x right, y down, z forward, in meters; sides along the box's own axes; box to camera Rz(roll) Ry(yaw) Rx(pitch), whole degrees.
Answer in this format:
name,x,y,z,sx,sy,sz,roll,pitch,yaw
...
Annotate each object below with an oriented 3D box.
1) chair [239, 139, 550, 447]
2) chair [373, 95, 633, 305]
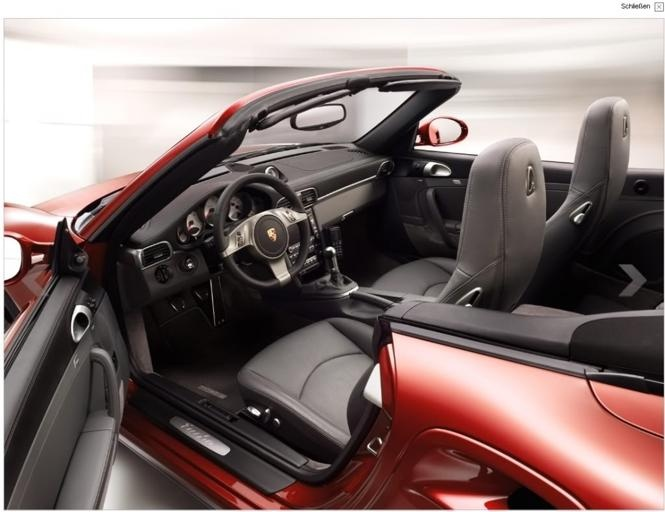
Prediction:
name,x,y,z,sx,sy,sz,roll,pitch,yaw
chair,0.161,0.117,1.549,0.980,1.001,0.635,4,17,21
chair,0.701,-0.210,1.693,0.521,0.560,1.196,8,25,45
